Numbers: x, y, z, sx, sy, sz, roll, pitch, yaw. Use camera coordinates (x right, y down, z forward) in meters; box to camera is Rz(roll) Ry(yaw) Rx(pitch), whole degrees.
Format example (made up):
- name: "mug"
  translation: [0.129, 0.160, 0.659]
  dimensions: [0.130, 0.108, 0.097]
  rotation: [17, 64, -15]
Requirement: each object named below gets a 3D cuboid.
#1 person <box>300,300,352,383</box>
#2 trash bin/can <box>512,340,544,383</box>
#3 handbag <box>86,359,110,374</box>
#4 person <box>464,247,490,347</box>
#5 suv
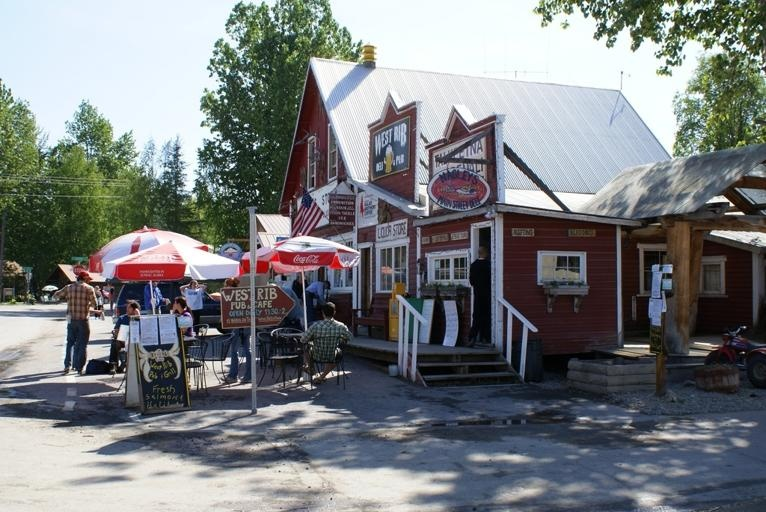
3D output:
- name: "person"
  translation: [-1.367, 2.058, 18.253]
  dimensions: [1.202, 1.970, 0.971]
  rotation: [8, 9, 8]
- name: "trash bin/can"
  translation: [3.606, 2.668, 19.799]
  dimensions: [0.956, 0.999, 0.941]
  rotation: [1, -9, -5]
- name: "handbag"
  translation: [-7.108, 2.767, 19.284]
  dimensions: [0.485, 0.347, 0.364]
  rotation: [2, 2, 4]
- name: "person"
  translation: [2.584, 1.060, 20.477]
  dimensions: [0.652, 2.496, 0.703]
  rotation: [-5, -10, 32]
- name: "suv"
  translation: [-7.747, 1.533, 27.831]
  dimensions: [4.518, 1.931, 2.457]
  rotation: [-2, -1, -21]
